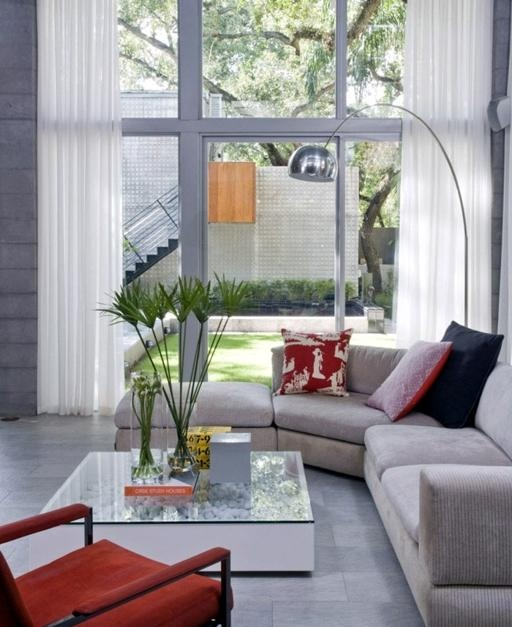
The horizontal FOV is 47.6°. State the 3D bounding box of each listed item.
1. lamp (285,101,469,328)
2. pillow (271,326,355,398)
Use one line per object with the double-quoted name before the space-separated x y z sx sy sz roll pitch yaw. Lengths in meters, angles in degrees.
"lamp" 0.910 -0.532 3.830 1.173 1.929 0.485 7 49 26
"pillow" 0.389 0.340 3.921 0.396 0.465 0.166 -2 -24 14
